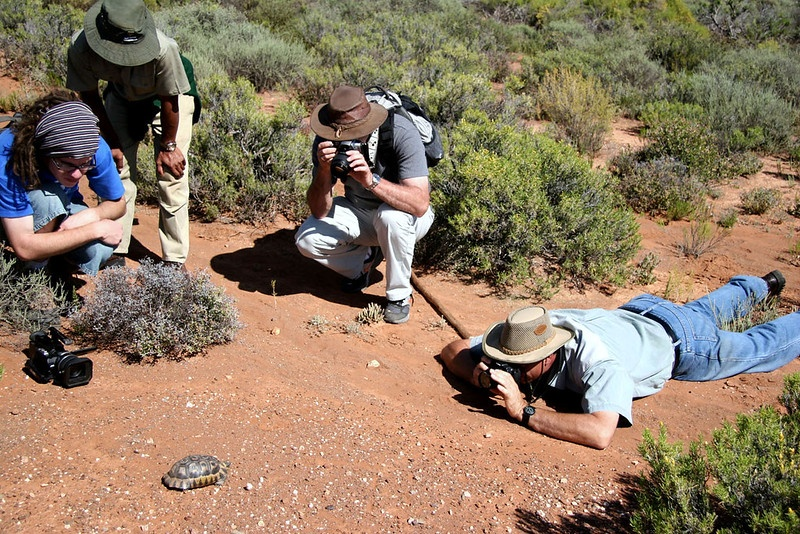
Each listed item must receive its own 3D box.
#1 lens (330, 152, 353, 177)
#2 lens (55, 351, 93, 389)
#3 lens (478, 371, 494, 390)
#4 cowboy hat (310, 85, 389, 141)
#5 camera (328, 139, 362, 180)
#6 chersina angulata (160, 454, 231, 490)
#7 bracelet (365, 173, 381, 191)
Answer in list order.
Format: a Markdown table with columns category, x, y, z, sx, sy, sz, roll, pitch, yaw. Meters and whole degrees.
| category | x | y | z | sx | sy | sz | roll | pitch | yaw |
| --- | --- | --- | --- | --- | --- | --- | --- | --- | --- |
| lens | -0.551 | -0.961 | 6.010 | 0.204 | 0.257 | 0.150 | 13 | 24 | -4 |
| lens | -2.617 | 0.826 | 5.205 | 0.295 | 0.312 | 0.263 | -6 | 16 | -45 |
| lens | 0.738 | 0.976 | 5.477 | 0.108 | 0.163 | 0.055 | -7 | -3 | 33 |
| cowboy hat | -0.491 | -1.456 | 6.090 | 0.723 | 0.534 | 0.431 | 15 | 24 | -3 |
| camera | -0.521 | -1.056 | 6.034 | 0.241 | 0.420 | 0.306 | 7 | 49 | 4 |
| chersina angulata | -1.478 | 1.510 | 4.646 | 0.465 | 0.215 | 0.180 | 6 | 26 | -21 |
| bracelet | -0.240 | -0.819 | 6.153 | 0.111 | 0.155 | 0.168 | 37 | 29 | 11 |
